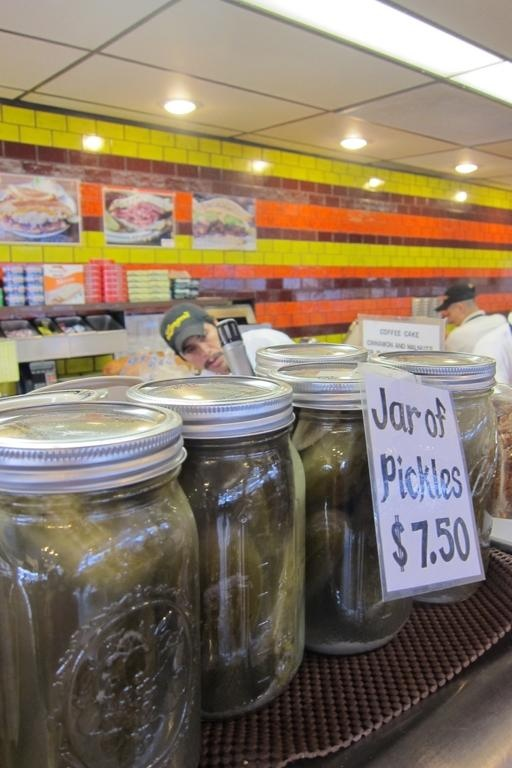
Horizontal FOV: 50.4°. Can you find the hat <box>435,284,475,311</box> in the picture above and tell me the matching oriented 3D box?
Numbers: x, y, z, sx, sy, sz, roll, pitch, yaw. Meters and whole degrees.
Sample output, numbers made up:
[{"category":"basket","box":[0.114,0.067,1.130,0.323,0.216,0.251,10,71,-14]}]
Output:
[{"category":"hat","box":[1.814,-0.802,5.032,0.305,0.162,0.221,-13,10,39]}]
